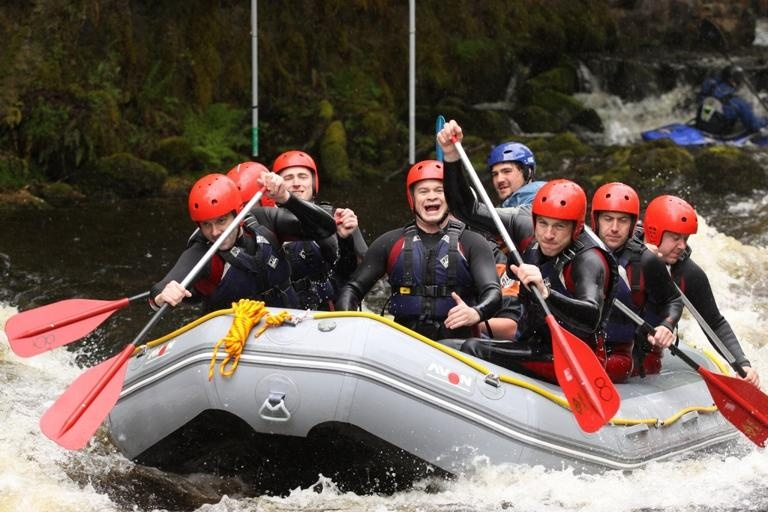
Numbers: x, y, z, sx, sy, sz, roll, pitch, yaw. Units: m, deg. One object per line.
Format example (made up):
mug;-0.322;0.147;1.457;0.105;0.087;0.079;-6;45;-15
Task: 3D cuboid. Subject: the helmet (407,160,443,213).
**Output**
helmet;0.336;-0.587;6.885;0.276;0.306;0.255;-2;0;-16

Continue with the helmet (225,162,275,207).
helmet;-1.223;-0.636;7.830;0.417;0.482;0.341;-9;18;-37

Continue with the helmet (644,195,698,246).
helmet;2.394;-0.310;7.426;0.358;0.457;0.466;-12;22;-42

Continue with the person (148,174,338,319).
person;-1.121;-0.041;7.085;0.954;1.734;0.562;-16;12;-26

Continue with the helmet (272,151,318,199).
helmet;-0.767;-0.817;7.726;0.353;0.519;0.513;-8;-9;-1

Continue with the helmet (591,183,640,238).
helmet;1.831;-0.308;6.950;0.330;0.440;0.433;1;-16;31

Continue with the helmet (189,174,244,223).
helmet;-1.283;-0.463;6.750;0.274;0.394;0.392;-12;8;13

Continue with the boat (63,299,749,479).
boat;0.288;1.081;6.259;3.111;0.697;1.849;25;-12;-23
